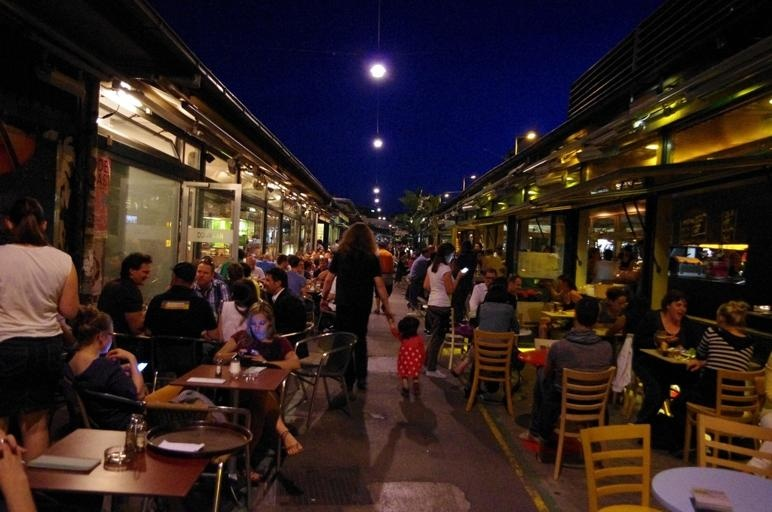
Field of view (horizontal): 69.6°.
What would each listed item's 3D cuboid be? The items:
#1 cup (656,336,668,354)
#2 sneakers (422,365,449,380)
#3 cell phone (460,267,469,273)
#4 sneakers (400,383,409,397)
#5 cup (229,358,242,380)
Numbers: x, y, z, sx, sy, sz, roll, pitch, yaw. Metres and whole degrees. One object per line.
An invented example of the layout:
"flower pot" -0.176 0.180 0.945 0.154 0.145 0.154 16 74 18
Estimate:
"cup" 3.813 1.250 7.739 0.169 0.182 0.165 1 -3 0
"sneakers" 0.883 2.103 9.947 0.424 0.169 0.153 3 -6 0
"cell phone" 1.598 0.294 11.398 0.140 0.068 0.191 11 20 24
"sneakers" 0.308 2.116 8.935 0.115 0.216 0.230 1 7 0
"cup" -1.704 1.276 6.318 0.184 0.258 0.180 1 3 0
